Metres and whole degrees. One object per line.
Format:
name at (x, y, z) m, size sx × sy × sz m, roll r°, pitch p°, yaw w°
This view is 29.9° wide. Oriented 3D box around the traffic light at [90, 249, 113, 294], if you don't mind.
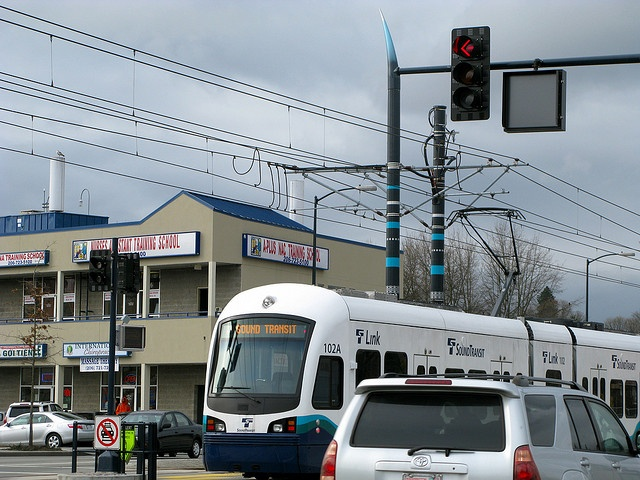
traffic light at (-5.222, 0.708, 28.460) m, size 0.546 × 0.940 × 0.525 m, roll -1°, pitch 0°, yaw -9°
